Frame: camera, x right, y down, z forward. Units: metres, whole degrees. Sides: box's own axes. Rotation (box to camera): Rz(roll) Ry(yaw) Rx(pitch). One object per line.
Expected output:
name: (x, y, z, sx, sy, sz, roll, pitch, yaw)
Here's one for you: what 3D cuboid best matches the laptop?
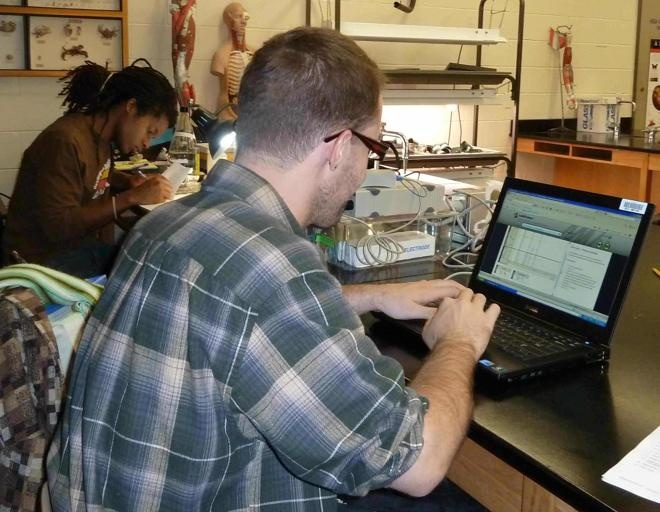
laptop: (0.515, 0.055, 1.251, 0.373, 0.460, 0.525, 6, 8, -30)
